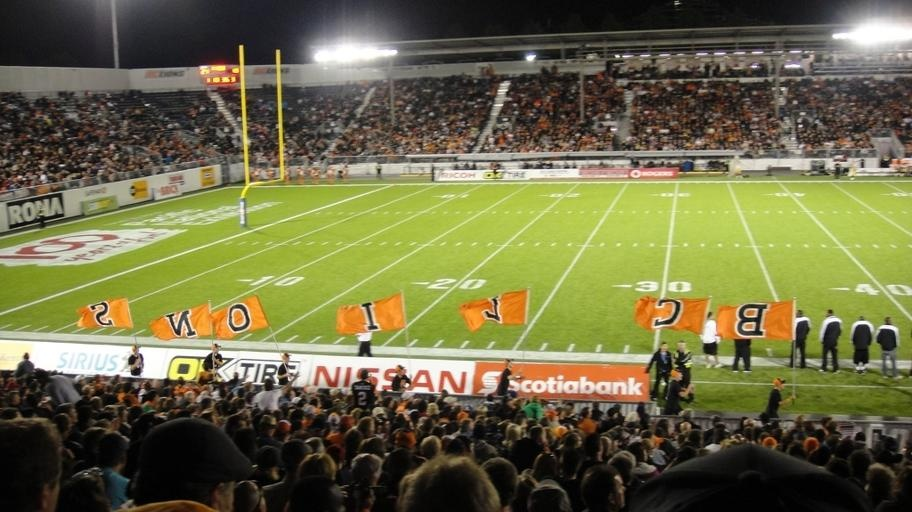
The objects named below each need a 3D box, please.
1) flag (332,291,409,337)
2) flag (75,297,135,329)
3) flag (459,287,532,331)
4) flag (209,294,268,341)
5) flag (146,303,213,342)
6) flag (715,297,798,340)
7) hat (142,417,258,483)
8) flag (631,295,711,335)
[{"bbox_3d":[-2.614,1.786,20.164,2.861,1.329,0.362,-1,34,6],"label":"flag"},{"bbox_3d":[-10.643,1.669,20.056,1.827,0.785,0.494,-1,-9,26],"label":"flag"},{"bbox_3d":[0.978,1.544,19.091,2.332,0.687,0.252,-19,-20,-44],"label":"flag"},{"bbox_3d":[-6.276,1.744,18.761,2.115,1.057,0.295,-16,-6,27],"label":"flag"},{"bbox_3d":[-7.919,1.837,19.047,0.983,2.102,0.230,7,-55,-31],"label":"flag"},{"bbox_3d":[7.939,1.644,17.637,0.265,1.142,2.380,13,-11,-30],"label":"flag"},{"bbox_3d":[-2.436,1.815,6.302,1.063,0.323,0.606,1,1,-7],"label":"hat"},{"bbox_3d":[5.930,1.582,18.148,1.794,0.912,0.566,-1,-9,29],"label":"flag"}]
